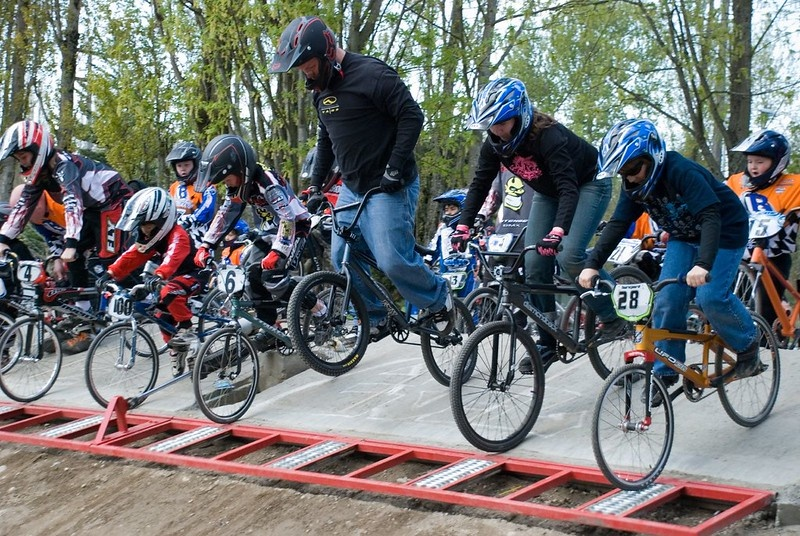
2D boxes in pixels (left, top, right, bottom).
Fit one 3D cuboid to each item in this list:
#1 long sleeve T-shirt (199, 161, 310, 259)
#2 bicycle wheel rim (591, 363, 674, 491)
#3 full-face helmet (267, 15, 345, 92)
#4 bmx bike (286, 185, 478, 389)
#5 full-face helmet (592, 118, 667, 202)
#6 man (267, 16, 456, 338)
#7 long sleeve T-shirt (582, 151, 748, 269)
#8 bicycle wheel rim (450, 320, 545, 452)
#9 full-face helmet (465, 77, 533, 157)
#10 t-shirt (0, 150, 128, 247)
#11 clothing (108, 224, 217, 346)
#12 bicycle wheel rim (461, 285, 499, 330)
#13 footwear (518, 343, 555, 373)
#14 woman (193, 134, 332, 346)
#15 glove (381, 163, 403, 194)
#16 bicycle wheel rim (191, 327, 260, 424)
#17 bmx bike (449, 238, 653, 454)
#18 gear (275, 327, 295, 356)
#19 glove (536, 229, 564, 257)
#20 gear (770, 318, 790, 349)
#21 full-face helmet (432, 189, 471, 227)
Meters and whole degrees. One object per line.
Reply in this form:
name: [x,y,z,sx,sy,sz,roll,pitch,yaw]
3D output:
long sleeve T-shirt: [-1.745,-0.748,8.951,1.357,0.956,1.159,1,23,36]
bicycle wheel rim: [2.010,1.298,6.253,0.609,1.064,1.067,2,7,19]
full-face helmet: [-1.007,-2.234,7.557,0.718,0.734,0.628,-1,12,-35]
bmx bike: [0.295,0.464,8.027,2.718,1.570,1.487,11,-14,-31]
full-face helmet: [2.002,-0.941,6.263,0.623,0.693,0.331,0,6,2]
man: [-0.344,-0.915,7.871,1.799,3.371,1.451,-2,5,7]
long sleeve T-shirt: [2.403,-0.523,6.663,1.329,0.938,1.116,2,-11,-34]
bicycle wheel rim: [0.965,1.103,7.027,0.797,1.266,1.229,1,6,11]
full-face helmet: [0.953,-1.472,7.048,0.399,0.751,0.685,6,8,41]
t-shirt: [-4.613,-1.001,10.420,1.219,1.032,1.748,-17,-1,40]
clothing: [-3.039,0.082,9.352,1.021,1.735,1.325,-7,1,40]
bicycle wheel rim: [0.907,0.464,8.269,0.494,0.441,0.140,7,5,-36]
footwear: [1.326,0.899,7.114,0.535,0.206,0.173,4,-13,-38]
woman: [-1.705,-0.310,8.914,1.346,2.518,1.690,6,14,45]
glove: [-0.074,-0.914,7.452,0.216,0.264,0.109,19,3,-37]
bicycle wheel rim: [-1.958,1.242,8.256,0.268,0.984,1.145,-8,-17,43]
bmx bike: [1.476,0.855,7.398,2.702,1.480,1.290,-10,0,-39]
gear: [-1.408,0.915,8.811,0.143,0.353,0.373,-15,9,2]
glove: [1.429,-0.235,6.835,0.181,0.123,0.327,-1,37,41]
gear: [4.143,0.719,7.957,0.105,0.301,0.319,-12,2,-4]
full-face helmet: [0.931,-0.932,11.077,0.723,0.591,0.513,3,-7,-17]
